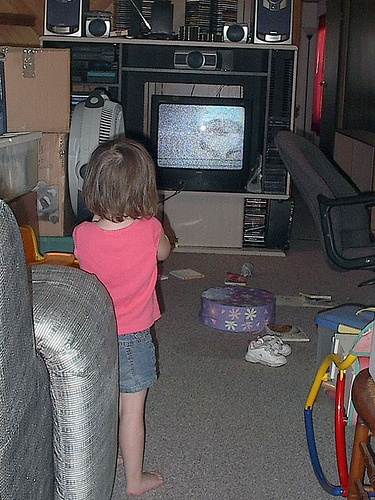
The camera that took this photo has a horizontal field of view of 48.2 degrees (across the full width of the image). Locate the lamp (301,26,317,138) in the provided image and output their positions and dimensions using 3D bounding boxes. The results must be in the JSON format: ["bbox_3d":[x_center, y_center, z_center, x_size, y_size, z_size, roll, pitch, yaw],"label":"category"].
[{"bbox_3d":[3.002,-4.050,10.318,0.279,2.352,0.290,9,16,30],"label":"lamp"}]

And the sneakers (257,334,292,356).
[{"bbox_3d":[0.445,0.458,2.064,0.177,0.067,0.068,22,37,13],"label":"sneakers"}]

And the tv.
[{"bbox_3d":[0.084,-0.992,3.887,0.986,0.793,0.538,-1,16,-9],"label":"tv"}]

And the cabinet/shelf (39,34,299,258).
[{"bbox_3d":[-0.133,-0.962,3.849,2.133,1.777,0.773,6,-4,7],"label":"cabinet/shelf"}]

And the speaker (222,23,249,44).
[{"bbox_3d":[0.398,-1.804,3.482,0.190,0.164,0.059,-2,13,-2],"label":"speaker"}]

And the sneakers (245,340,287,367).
[{"bbox_3d":[0.365,0.498,2.015,0.205,0.094,0.080,7,28,19],"label":"sneakers"}]
